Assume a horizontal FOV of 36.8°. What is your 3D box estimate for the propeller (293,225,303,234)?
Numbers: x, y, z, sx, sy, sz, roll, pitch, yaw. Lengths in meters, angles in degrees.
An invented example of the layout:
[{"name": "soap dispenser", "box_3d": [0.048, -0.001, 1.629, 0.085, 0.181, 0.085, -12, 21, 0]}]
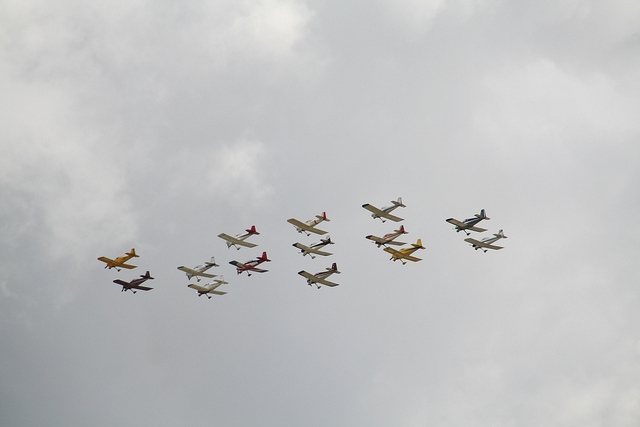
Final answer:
[{"name": "propeller", "box_3d": [-1.174, 0.780, 50.583, 0.482, 0.133, 0.300, 13, -72, -25]}]
